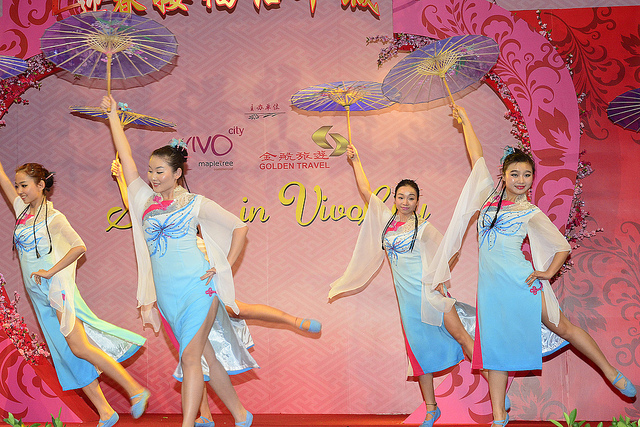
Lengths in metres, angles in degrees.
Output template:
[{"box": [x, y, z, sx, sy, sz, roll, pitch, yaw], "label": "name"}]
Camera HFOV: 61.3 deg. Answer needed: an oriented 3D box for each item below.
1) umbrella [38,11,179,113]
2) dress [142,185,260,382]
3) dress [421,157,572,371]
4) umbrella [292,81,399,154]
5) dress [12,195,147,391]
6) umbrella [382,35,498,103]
[{"box": [-1.926, -1.800, 5.194, 1.068, 0.937, 1.112, 2, -37, -12], "label": "umbrella"}, {"box": [-1.080, 0.650, 4.749, 0.999, 1.683, 0.581, 3, 7, -20], "label": "dress"}, {"box": [1.668, 0.474, 4.880, 1.182, 1.886, 0.505, 8, 7, 24], "label": "dress"}, {"box": [0.250, -0.816, 5.108, 0.848, 0.770, 0.859, -6, -7, -8], "label": "umbrella"}, {"box": [-2.411, 0.797, 5.074, 1.309, 1.752, 0.311, 7, 6, 8], "label": "dress"}, {"box": [1.088, -1.312, 4.915, 0.783, 0.765, 0.533, -21, 45, 13], "label": "umbrella"}]
